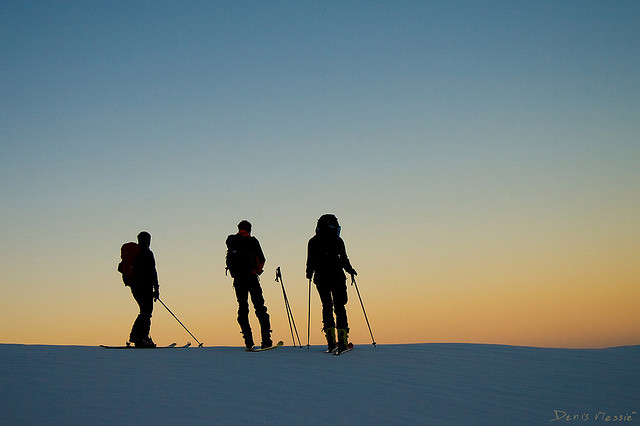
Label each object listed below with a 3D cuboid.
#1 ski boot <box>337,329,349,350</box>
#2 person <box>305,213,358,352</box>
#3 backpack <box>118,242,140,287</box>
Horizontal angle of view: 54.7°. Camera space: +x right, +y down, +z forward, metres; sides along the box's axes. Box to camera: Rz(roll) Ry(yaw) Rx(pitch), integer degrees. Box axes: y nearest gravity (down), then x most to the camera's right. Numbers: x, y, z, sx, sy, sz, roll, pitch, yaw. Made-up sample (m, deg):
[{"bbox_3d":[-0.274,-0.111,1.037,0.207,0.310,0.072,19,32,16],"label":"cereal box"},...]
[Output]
[{"bbox_3d":[0.463,2.611,12.686,0.232,0.458,0.163,3,10,1],"label":"ski boot"},{"bbox_3d":[0.193,1.490,12.694,0.938,2.818,0.639,11,12,37],"label":"person"},{"bbox_3d":[-4.151,1.128,13.482,0.415,0.916,0.392,0,10,-18],"label":"backpack"}]
